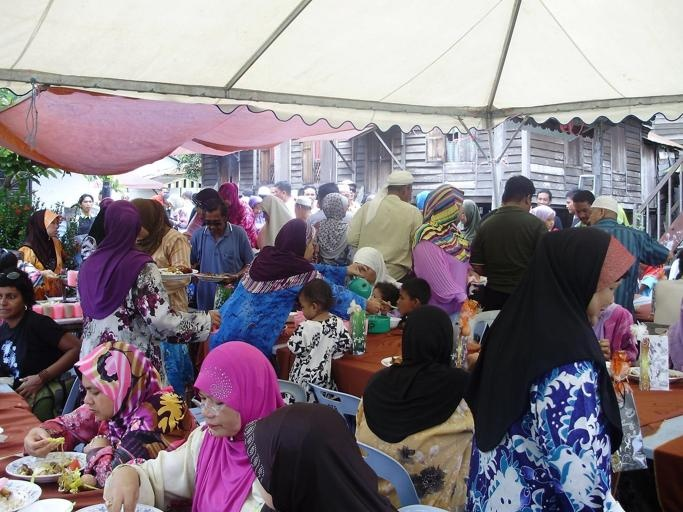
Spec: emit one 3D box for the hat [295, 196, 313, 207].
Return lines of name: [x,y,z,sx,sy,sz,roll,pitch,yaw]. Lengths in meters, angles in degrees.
hat: [-0.528,-0.805,8.345,0.245,0.160,0.359,10,4,5]

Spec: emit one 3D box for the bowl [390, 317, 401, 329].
bowl: [0.405,0.492,4.485,0.070,0.043,0.102,-3,-2,28]

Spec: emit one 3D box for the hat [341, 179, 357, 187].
hat: [0.191,-1.701,13.733,0.359,0.095,0.348,0,7,9]

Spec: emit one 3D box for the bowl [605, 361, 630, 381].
bowl: [1.245,0.515,2.661,0.074,0.068,0.107,3,-1,21]

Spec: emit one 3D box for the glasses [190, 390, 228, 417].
glasses: [-0.534,0.612,2.426,0.106,0.035,0.113,22,-10,36]

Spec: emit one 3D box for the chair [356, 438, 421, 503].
chair: [0.216,1.002,2.734,0.279,0.272,0.151,4,-1,7]

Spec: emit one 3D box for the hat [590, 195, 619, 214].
hat: [2.417,-0.525,5.450,0.207,0.139,0.203,31,-9,-33]

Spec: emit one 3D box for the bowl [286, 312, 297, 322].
bowl: [-0.374,0.470,4.531,0.080,0.055,0.083,-1,-7,0]
